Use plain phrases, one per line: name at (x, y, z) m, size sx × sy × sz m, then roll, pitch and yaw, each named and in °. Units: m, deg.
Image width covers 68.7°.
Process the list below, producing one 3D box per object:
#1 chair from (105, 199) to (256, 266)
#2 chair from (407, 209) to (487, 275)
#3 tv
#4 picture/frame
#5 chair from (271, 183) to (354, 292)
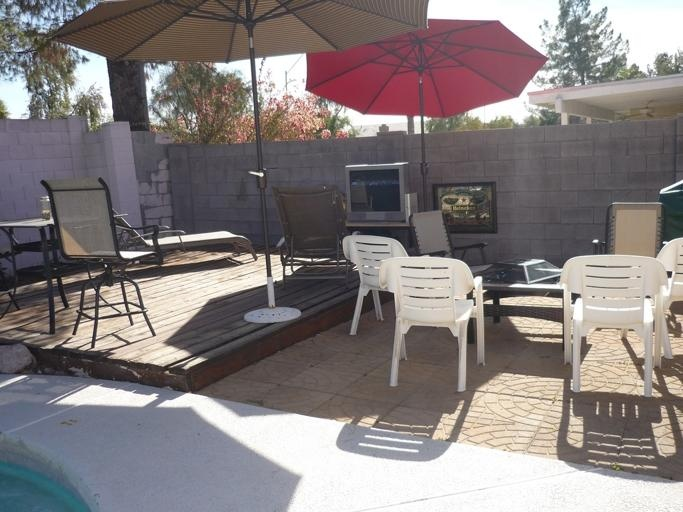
chair at (-2.405, -0.385, 7.923) m, size 2.107 × 0.850 × 0.996 m, roll -2°, pitch 9°, yaw -13°
chair at (1.284, -0.219, 6.189) m, size 0.665 × 0.853 × 0.996 m, roll -11°, pitch 9°, yaw -30°
tv at (0.565, -0.960, 7.546) m, size 0.981 × 0.895 × 0.540 m, roll 2°, pitch 10°, yaw 24°
picture/frame at (1.895, -0.744, 7.541) m, size 0.996 × 0.789 × 0.075 m, roll 2°, pitch 9°, yaw 21°
chair at (-0.184, -0.328, 6.560) m, size 0.853 × 1.043 × 1.261 m, roll 0°, pitch 3°, yaw 6°
